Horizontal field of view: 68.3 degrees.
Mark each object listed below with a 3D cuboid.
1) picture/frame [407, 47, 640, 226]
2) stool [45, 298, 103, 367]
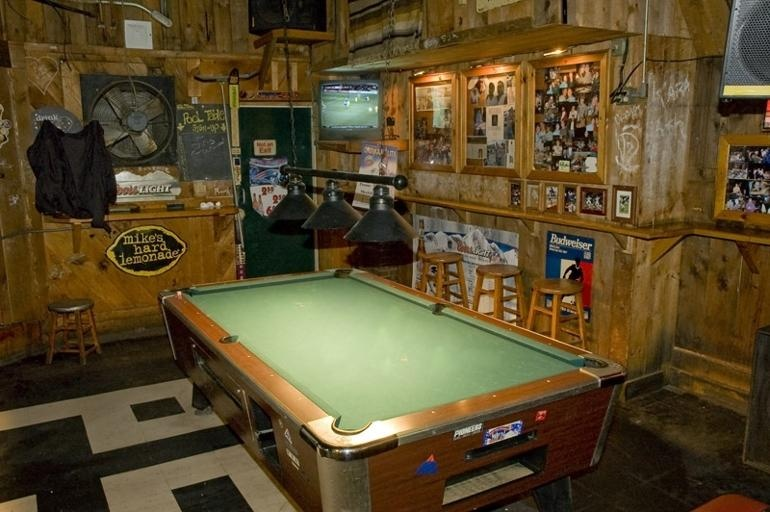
[{"bbox_3d":[1.510,-1.266,5.942,0.183,1.004,2.247,-6,8,-35],"label":"picture/frame"},{"bbox_3d":[-3.596,0.895,6.511,0.556,0.661,0.518,5,29,-7],"label":"stool"}]
